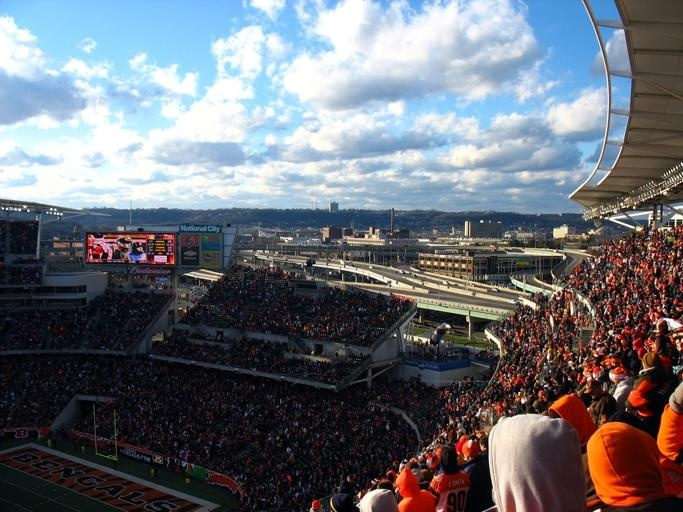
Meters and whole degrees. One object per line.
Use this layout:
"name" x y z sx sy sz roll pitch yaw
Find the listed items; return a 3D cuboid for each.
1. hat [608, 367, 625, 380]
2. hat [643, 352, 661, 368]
"hat" 6.152 2.618 11.623 0.330 0.272 0.436 4 2 29
"hat" 5.661 1.941 9.586 0.325 0.323 0.300 -5 3 34
